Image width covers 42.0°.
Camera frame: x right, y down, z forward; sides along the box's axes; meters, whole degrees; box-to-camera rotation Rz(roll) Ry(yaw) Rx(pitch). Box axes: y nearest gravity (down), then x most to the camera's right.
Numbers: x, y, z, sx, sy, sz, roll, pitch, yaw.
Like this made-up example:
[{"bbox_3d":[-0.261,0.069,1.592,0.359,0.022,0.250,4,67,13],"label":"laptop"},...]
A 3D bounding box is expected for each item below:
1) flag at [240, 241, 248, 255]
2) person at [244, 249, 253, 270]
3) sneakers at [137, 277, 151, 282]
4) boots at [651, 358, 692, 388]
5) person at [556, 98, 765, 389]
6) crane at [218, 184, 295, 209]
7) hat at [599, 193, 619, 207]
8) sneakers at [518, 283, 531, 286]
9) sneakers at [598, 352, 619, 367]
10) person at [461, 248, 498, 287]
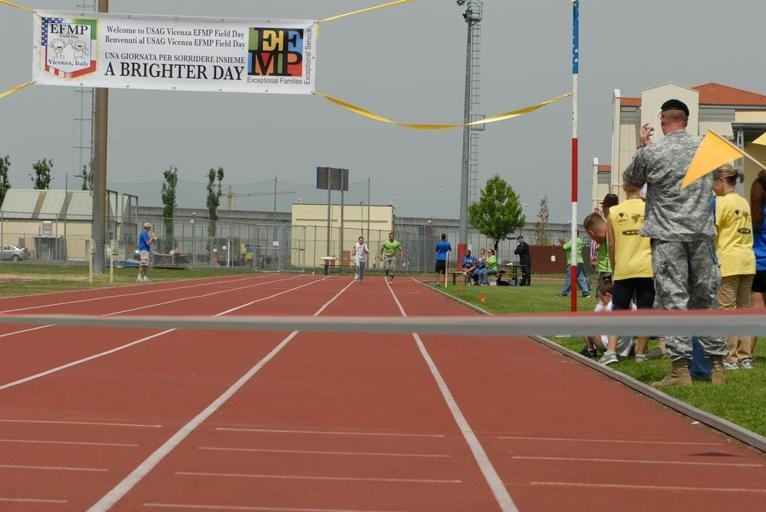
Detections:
[{"bbox_3d":[-5.805,-0.369,41.558,0.283,0.501,0.117,-1,10,-9],"label":"flag"},{"bbox_3d":[-5.610,0.050,41.646,0.334,0.706,0.190,2,10,6],"label":"person"},{"bbox_3d":[-6.164,0.570,25.649,0.169,0.186,0.445,4,-6,-31],"label":"sneakers"},{"bbox_3d":[3.064,1.206,10.309,0.545,0.353,0.195,1,-6,10],"label":"boots"},{"bbox_3d":[3.041,-0.102,10.159,1.096,2.938,1.367,2,10,6],"label":"person"},{"bbox_3d":[-11.033,-5.586,87.408,5.976,1.868,12.278,-1,10,-9],"label":"crane"},{"bbox_3d":[2.801,-0.699,12.221,0.191,0.114,0.224,1,-7,18],"label":"hat"},{"bbox_3d":[4.332,0.815,30.317,0.380,0.143,0.119,-5,-6,37],"label":"sneakers"},{"bbox_3d":[2.594,1.169,11.477,0.279,0.128,0.108,-7,-4,41],"label":"sneakers"},{"bbox_3d":[3.046,0.360,31.228,0.640,0.441,1.070,-5,-21,-24],"label":"person"}]
